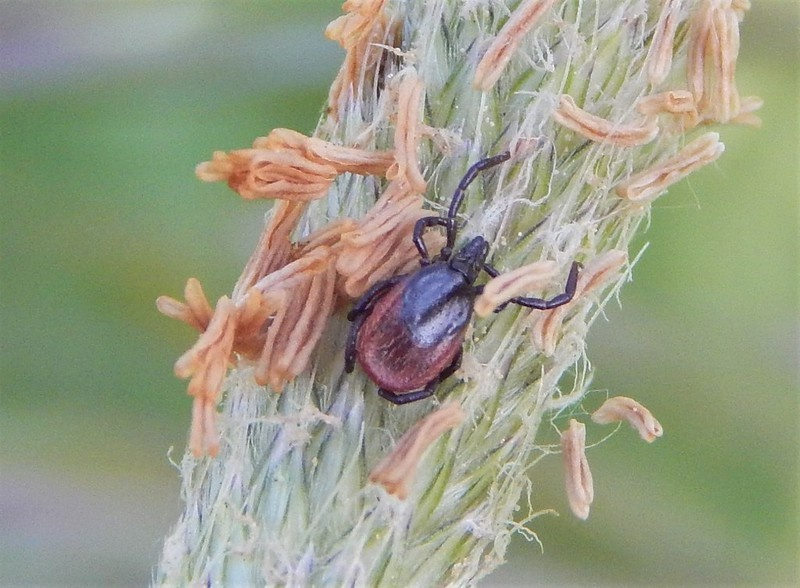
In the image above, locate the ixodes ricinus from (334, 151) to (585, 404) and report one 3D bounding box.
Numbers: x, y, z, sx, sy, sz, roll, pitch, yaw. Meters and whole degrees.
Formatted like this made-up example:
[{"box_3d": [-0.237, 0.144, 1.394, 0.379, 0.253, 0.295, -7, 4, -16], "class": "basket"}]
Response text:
[{"box_3d": [0.181, 0.018, 3.219, 0.465, 0.191, 0.716, 39, 95, -6], "class": "ixodes ricinus"}]
